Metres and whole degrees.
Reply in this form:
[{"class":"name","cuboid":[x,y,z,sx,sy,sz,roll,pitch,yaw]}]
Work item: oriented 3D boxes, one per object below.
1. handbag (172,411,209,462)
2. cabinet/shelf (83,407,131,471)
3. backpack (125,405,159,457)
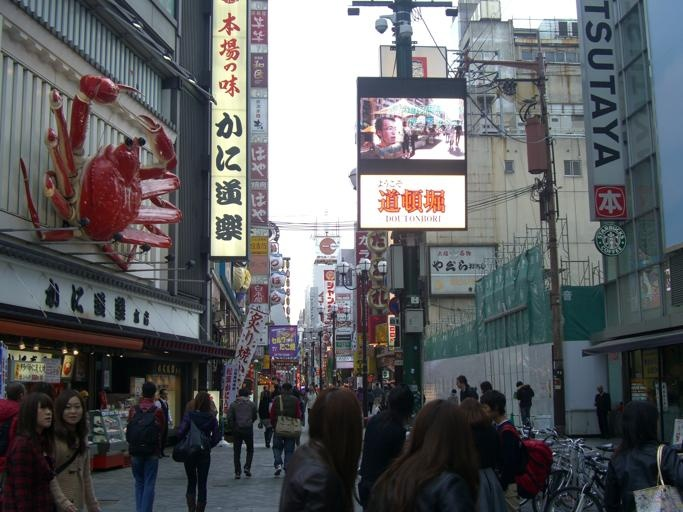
[{"class":"handbag","cuboid":[-2.608,3.155,14.234,0.599,0.713,0.260,2,-10,-11]},{"class":"cabinet/shelf","cuboid":[-5.931,4.592,20.676,0.571,1.448,0.955,-5,-10,12]},{"class":"backpack","cuboid":[-3.344,2.922,13.898,0.425,0.840,0.416,1,-1,3]}]
